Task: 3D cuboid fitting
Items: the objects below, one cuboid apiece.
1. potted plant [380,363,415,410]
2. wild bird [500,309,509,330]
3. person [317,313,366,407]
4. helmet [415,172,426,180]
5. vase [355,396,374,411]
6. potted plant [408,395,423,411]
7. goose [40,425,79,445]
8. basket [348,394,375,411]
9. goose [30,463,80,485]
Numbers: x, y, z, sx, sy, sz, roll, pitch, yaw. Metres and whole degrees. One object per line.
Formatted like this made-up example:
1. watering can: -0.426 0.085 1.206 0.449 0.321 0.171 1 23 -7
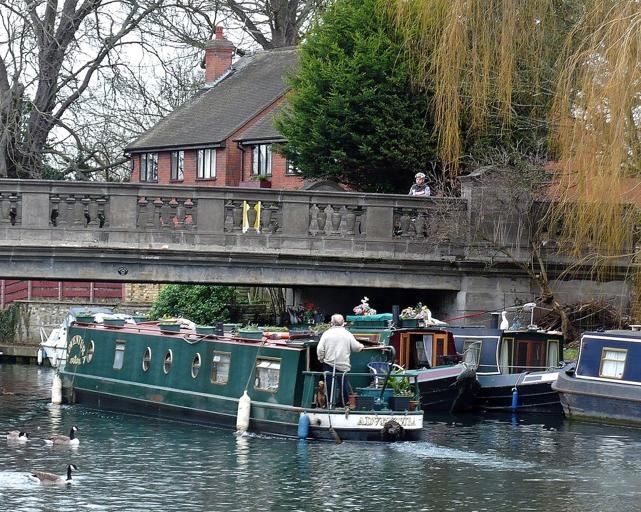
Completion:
1. potted plant: 1.543 2.752 26.684 0.544 0.768 0.577 -7 -7 -16
2. wild bird: 4.587 1.577 32.520 0.144 0.457 0.349 0 -30 13
3. person: 0.329 2.105 26.241 0.802 1.883 0.463 0 5 -13
4. helmet: 2.568 -2.146 33.912 0.181 0.219 0.236 1 -39 14
5. vase: 0.878 2.930 26.071 0.436 0.307 0.246 0 -4 -5
6. potted plant: 1.938 2.990 26.699 0.293 0.296 0.432 0 -9 4
7. goose: -5.102 3.532 25.680 0.609 0.429 0.342 0 2 10
8. basket: 0.816 2.900 26.067 0.499 0.289 0.308 1 5 -2
9. goose: -4.721 3.792 22.979 0.769 0.254 0.827 1 5 3
